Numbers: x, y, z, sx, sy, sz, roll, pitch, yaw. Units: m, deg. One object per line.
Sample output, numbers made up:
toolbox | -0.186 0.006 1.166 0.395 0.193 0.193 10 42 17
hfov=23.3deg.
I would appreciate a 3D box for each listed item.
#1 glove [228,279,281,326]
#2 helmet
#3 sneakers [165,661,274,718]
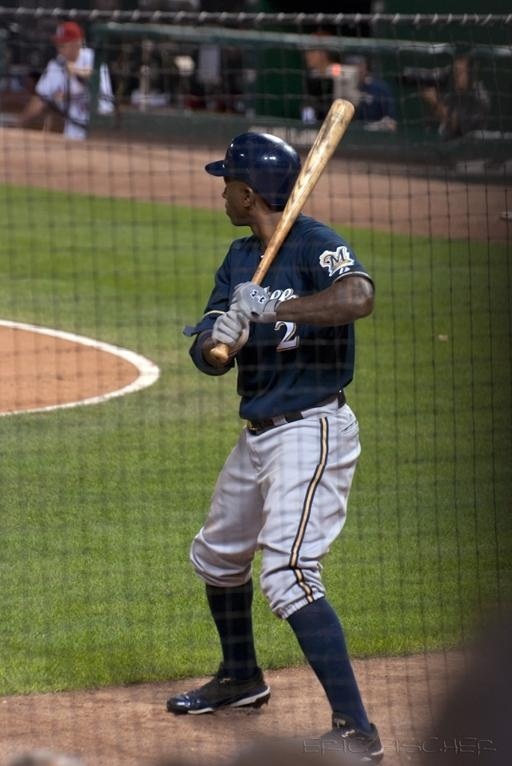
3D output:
glove | -0.003 -0.276 4.258 0.116 0.066 0.155 -4 29 -20
helmet | 0.004 -0.824 4.542 0.379 0.218 0.269 17 33 11
sneakers | -0.133 1.172 4.787 0.439 0.216 0.153 -1 0 -9
